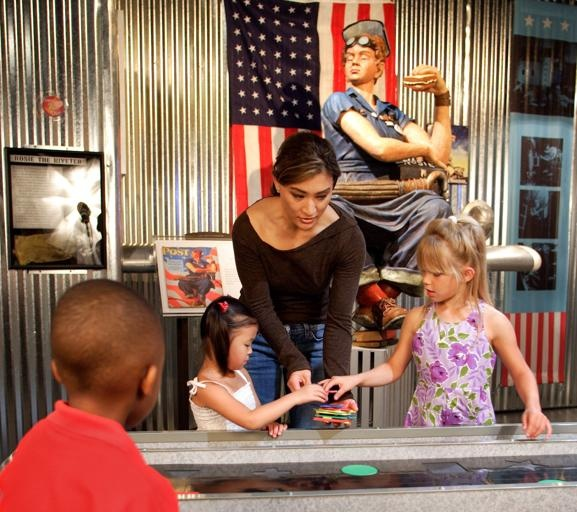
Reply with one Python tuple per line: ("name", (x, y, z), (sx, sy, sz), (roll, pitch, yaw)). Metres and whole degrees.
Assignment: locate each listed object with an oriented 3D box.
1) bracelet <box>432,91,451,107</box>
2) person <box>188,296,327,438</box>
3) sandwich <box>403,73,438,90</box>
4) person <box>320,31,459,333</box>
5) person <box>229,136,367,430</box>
("bracelet", (1.000, -1.025, 4.644), (0.100, 0.088, 0.099), (-7, 16, -13))
("person", (-0.137, 0.626, 3.024), (0.543, 0.868, 0.384), (4, 16, 9))
("sandwich", (0.835, -1.097, 4.466), (0.196, 0.069, 0.192), (-4, 14, -11))
("person", (0.604, -0.486, 4.338), (0.726, 1.814, 0.830), (0, 5, -37))
("person", (0.032, 0.111, 2.915), (0.547, 1.206, 0.478), (0, 3, 14))
